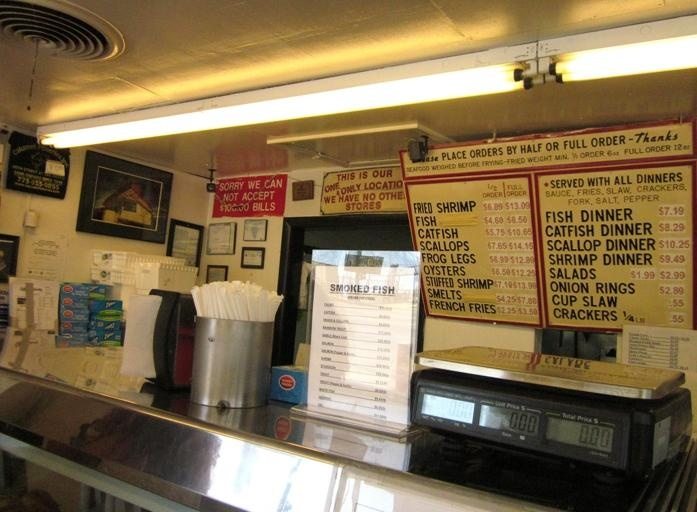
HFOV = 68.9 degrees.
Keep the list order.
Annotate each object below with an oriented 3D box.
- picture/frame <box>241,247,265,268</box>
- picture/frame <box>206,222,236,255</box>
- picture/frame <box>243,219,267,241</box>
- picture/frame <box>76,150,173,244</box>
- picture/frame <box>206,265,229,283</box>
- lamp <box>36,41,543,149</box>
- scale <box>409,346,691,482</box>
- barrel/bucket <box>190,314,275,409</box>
[{"bbox_3d":[-1.030,0.020,5.502,0.351,0.247,0.058,4,9,33],"label":"picture/frame"},{"bbox_3d":[-1.429,-0.207,5.828,0.520,0.378,0.064,1,-3,42],"label":"picture/frame"},{"bbox_3d":[-1.005,-0.284,5.538,0.345,0.250,0.098,6,10,42],"label":"picture/frame"},{"bbox_3d":[-2.250,-0.593,5.142,0.062,0.718,0.896,7,-2,40],"label":"picture/frame"},{"bbox_3d":[-1.365,0.185,5.349,0.295,0.240,0.020,-5,-7,36],"label":"picture/frame"},{"bbox_3d":[-0.556,-0.968,3.164,3.289,0.284,0.239,3,8,27],"label":"lamp"},{"bbox_3d":[0.499,0.372,1.289,0.636,0.228,0.380,3,8,27],"label":"scale"},{"bbox_3d":[-0.404,0.351,1.629,0.282,0.262,0.273,1,-12,0],"label":"barrel/bucket"}]
